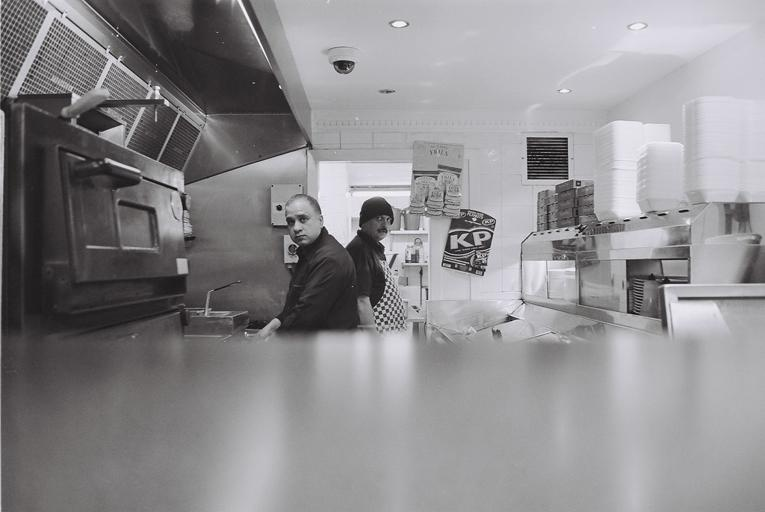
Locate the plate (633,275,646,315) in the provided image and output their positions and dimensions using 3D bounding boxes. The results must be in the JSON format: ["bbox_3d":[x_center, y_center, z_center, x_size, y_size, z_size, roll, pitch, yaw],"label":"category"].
[{"bbox_3d":[1.019,0.159,1.936,0.030,0.140,0.102,-1,0,15],"label":"plate"}]

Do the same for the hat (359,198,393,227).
[{"bbox_3d":[-0.037,-0.228,2.959,0.167,0.130,0.168,-6,-10,22],"label":"hat"}]

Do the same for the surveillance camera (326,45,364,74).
[{"bbox_3d":[-0.117,-0.623,1.616,0.129,0.098,0.129,-1,-5,-7],"label":"surveillance camera"}]
